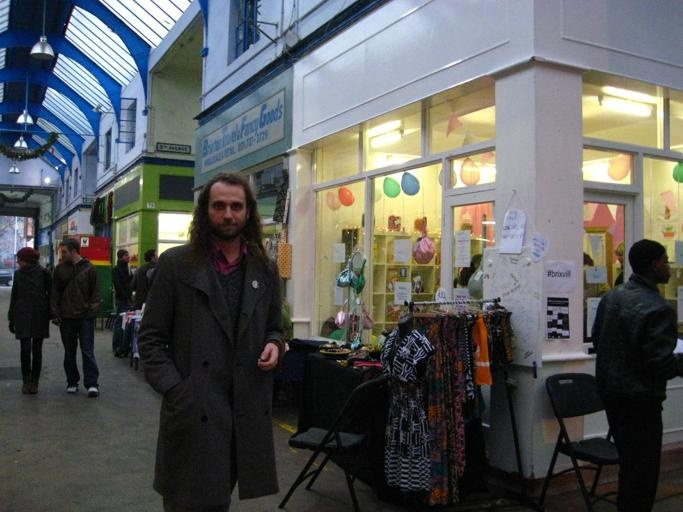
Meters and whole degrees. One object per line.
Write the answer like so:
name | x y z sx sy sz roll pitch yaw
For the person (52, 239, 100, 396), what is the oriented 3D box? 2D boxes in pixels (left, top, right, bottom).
person | -3.503 0.789 7.278 0.576 1.953 0.610 1 0 -26

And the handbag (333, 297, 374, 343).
handbag | 0.126 0.808 7.030 0.499 0.577 0.472 1 -3 -3

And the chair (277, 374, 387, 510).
chair | 0.025 1.443 4.744 0.980 1.421 0.800 1 -5 20

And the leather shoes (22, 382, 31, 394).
leather shoes | -4.102 1.713 7.177 0.064 0.143 0.193 1 -19 -16

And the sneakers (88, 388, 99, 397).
sneakers | -3.241 1.757 7.205 0.103 0.062 0.137 -1 -4 -6

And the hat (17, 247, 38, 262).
hat | -4.070 -0.027 7.171 0.194 0.224 0.273 3 7 1

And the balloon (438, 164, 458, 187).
balloon | 1.098 -0.816 5.765 0.189 0.277 0.191 -4 -6 37

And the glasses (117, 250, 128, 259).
glasses | -4.385 -0.051 10.970 0.198 0.201 0.166 -4 5 -12

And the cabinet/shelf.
cabinet/shelf | 0.748 0.293 5.738 0.365 1.273 1.295 3 -4 -34

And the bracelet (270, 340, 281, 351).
bracelet | -0.338 0.445 2.813 0.052 0.056 0.050 -10 -38 41

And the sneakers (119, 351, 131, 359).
sneakers | -4.105 1.835 10.454 0.113 0.101 0.251 1 0 28

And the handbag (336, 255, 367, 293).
handbag | 0.129 0.262 6.920 0.441 0.453 0.293 -16 -24 23

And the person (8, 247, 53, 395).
person | -4.060 0.830 7.178 0.474 1.779 0.357 1 0 -27

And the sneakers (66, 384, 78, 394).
sneakers | -3.589 1.754 7.336 0.079 0.101 0.224 4 -21 -24

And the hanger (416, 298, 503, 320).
hanger | 0.910 0.413 4.643 1.044 0.143 0.557 1 0 -44

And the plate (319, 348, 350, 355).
plate | -0.073 0.945 5.486 0.286 0.070 0.178 1 0 1
